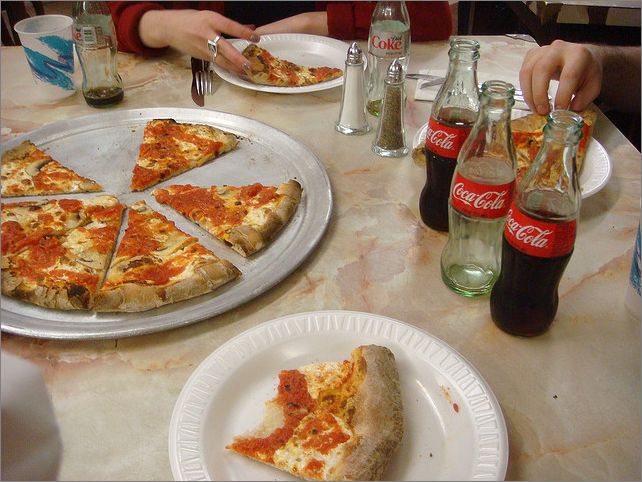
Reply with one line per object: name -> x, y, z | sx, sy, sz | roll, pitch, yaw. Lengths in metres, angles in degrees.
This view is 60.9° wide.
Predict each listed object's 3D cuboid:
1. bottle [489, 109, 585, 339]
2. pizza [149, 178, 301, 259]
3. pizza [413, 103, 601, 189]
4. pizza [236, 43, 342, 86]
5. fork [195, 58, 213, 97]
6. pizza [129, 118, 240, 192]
bottle -> 0.482, -0.012, 1.187 | 0.162, 0.499, 0.164 | -1, 42, 1
pizza -> -0.274, -0.099, 1.642 | 0.307, 0.072, 0.270 | 17, 45, 13
pizza -> 0.676, -0.326, 1.737 | 0.449, 0.070, 0.312 | -24, 51, -10
pizza -> -0.136, -0.696, 2.259 | 0.353, 0.115, 0.229 | 23, 55, 15
fork -> -0.499, -0.696, 2.293 | 0.058, 0.041, 0.277 | -3, 52, -8
pizza -> -0.492, -0.309, 1.895 | 0.269, 0.042, 0.287 | -9, 47, -18
